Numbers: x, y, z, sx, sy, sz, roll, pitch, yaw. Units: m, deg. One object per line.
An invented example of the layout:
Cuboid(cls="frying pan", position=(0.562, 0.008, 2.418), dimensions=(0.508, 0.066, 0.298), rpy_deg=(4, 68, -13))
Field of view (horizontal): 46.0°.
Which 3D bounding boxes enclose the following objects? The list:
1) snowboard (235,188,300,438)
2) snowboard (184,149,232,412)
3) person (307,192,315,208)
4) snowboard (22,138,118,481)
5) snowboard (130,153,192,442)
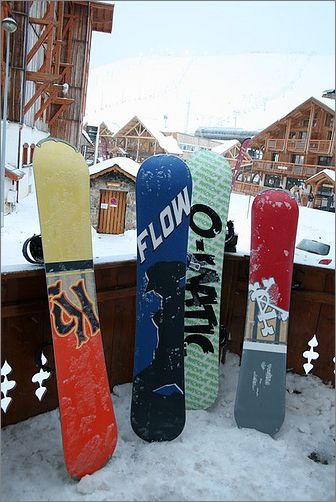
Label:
Cuboid(cls="snowboard", position=(0.502, 0.340, 2.148), dimensions=(0.317, 1.313, 0.218), rpy_deg=(5, 6, -3))
Cuboid(cls="snowboard", position=(0.214, 0.153, 2.248), dimensions=(0.260, 1.505, 0.103), rpy_deg=(-1, 9, -15))
Cuboid(cls="person", position=(3.815, -1.326, 10.584), dimensions=(0.144, 0.368, 0.810), rpy_deg=(10, 14, 19))
Cuboid(cls="snowboard", position=(-0.437, 0.250, 1.722), dimensions=(0.332, 1.418, 0.135), rpy_deg=(-8, 4, -39))
Cuboid(cls="snowboard", position=(-0.036, 0.230, 1.928), dimensions=(0.309, 1.346, 0.386), rpy_deg=(3, 14, -6))
